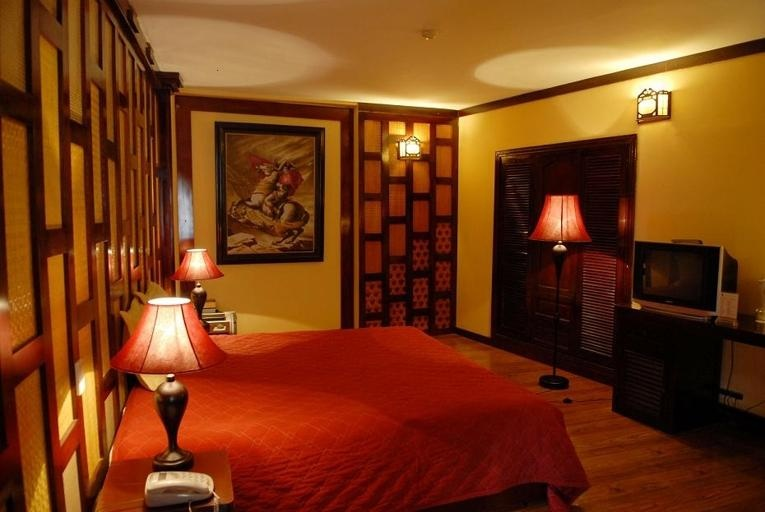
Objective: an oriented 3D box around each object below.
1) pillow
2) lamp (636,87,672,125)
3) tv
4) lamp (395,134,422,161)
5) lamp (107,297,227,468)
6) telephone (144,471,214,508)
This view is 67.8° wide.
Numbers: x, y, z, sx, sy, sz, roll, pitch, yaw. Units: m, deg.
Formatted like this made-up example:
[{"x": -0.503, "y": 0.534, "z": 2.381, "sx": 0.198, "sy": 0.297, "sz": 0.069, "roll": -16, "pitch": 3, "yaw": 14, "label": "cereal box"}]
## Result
[{"x": -1.341, "y": 0.472, "z": 3.181, "sx": 0.133, "sy": 0.219, "sz": 0.712, "roll": -3, "pitch": 26, "yaw": -9, "label": "pillow"}, {"x": 2.461, "y": -1.360, "z": 5.119, "sx": 0.108, "sy": 0.335, "sz": 0.334, "roll": -3, "pitch": 7, "yaw": -25, "label": "lamp"}, {"x": 2.427, "y": 0.189, "z": 4.664, "sx": 0.561, "sy": 0.739, "sz": 0.815, "roll": -1, "pitch": 1, "yaw": -29, "label": "tv"}, {"x": 0.324, "y": -1.343, "z": 7.044, "sx": 0.275, "sy": 0.294, "sz": 0.186, "roll": 11, "pitch": 16, "yaw": 36, "label": "lamp"}, {"x": -1.122, "y": 0.681, "z": 2.995, "sx": 0.575, "sy": 0.864, "sz": 0.555, "roll": 0, "pitch": 3, "yaw": -37, "label": "lamp"}, {"x": -0.974, "y": 1.110, "z": 2.711, "sx": 0.229, "sy": 0.080, "sz": 0.176, "roll": -2, "pitch": 2, "yaw": -14, "label": "telephone"}]
